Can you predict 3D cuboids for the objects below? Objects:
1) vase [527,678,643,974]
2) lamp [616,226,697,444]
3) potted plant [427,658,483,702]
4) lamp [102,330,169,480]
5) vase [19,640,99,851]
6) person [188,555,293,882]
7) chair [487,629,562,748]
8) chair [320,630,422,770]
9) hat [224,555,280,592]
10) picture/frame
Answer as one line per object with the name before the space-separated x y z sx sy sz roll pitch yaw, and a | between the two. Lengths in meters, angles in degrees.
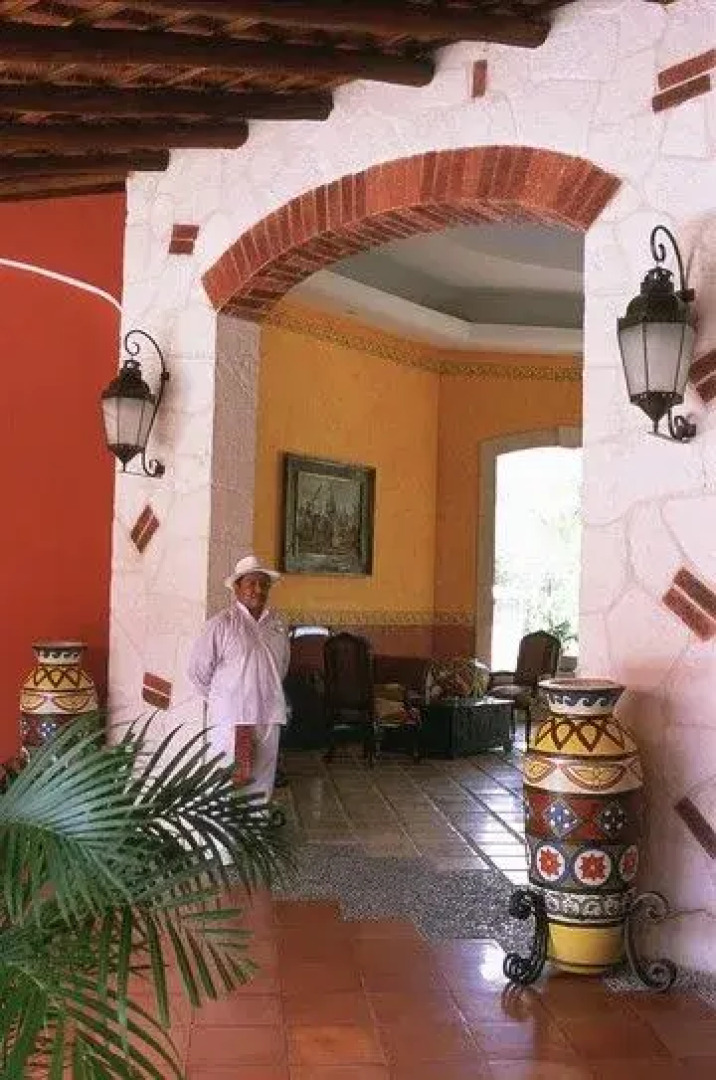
vase | 0.742 0.962 3.207 0.367 0.951 0.213 0 -5 13
lamp | 1.027 -0.726 3.310 0.237 0.777 0.375 -1 -5 24
potted plant | 0.854 1.210 8.296 0.443 0.397 0.438 0 -6 0
lamp | -1.132 -0.730 4.994 0.323 0.805 0.534 2 -4 -11
vase | -1.468 0.789 4.787 0.354 0.540 0.313 3 -5 -16
person | -0.559 0.646 4.566 0.453 1.115 0.352 2 -4 -6
chair | 1.626 1.423 9.499 0.637 1.004 0.648 6 -3 -45
chair | 0.078 1.217 7.542 0.624 0.965 0.689 -3 -6 44
hat | -0.549 0.172 4.962 0.321 0.122 0.331 -3 -17 -14
picture/frame | -0.300 -0.230 8.898 0.126 0.979 1.251 -2 -4 34
